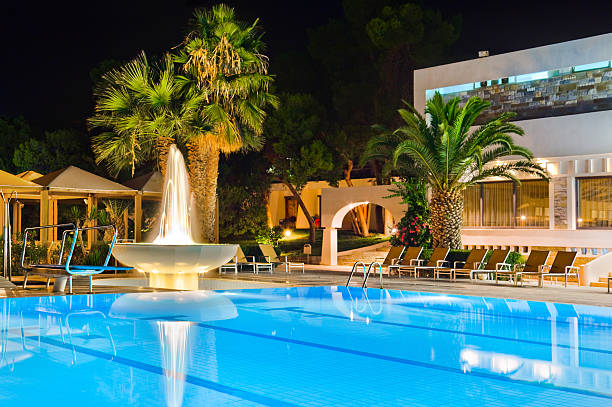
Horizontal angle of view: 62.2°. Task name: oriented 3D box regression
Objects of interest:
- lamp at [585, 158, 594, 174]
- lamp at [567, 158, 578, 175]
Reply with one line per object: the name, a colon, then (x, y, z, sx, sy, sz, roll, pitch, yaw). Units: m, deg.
lamp: (11.816, -1.645, 21.316, 0.116, 0.506, 0.471, 6, -2, -40)
lamp: (11.306, -1.584, 21.656, 0.153, 0.641, 0.352, 2, -4, -22)
